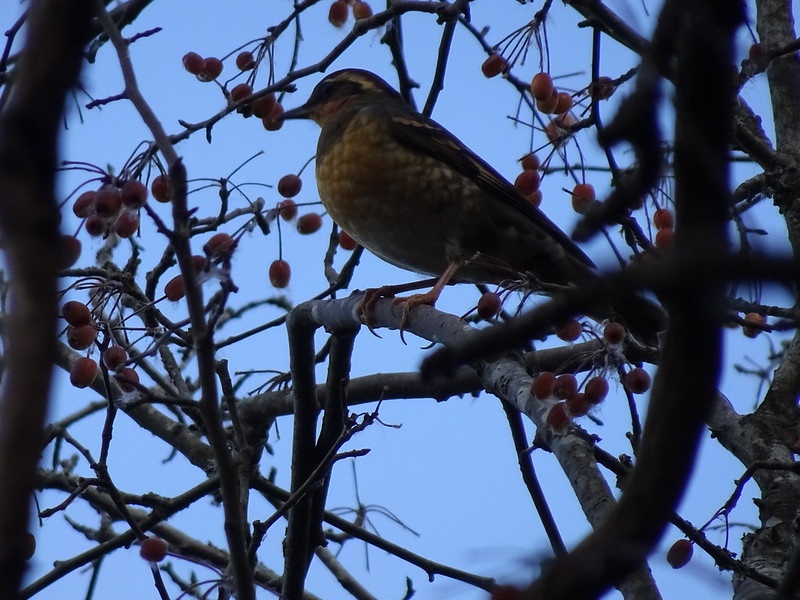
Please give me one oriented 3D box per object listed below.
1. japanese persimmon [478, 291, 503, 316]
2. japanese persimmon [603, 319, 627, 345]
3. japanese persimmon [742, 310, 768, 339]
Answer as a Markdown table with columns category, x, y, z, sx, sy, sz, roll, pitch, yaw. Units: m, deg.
| category | x | y | z | sx | sy | sz | roll | pitch | yaw |
| --- | --- | --- | --- | --- | --- | --- | --- | --- | --- |
| japanese persimmon | 0.309 | 0.016 | 4.917 | 0.056 | 0.061 | 0.080 | 13 | -79 | 7 |
| japanese persimmon | 0.753 | 0.115 | 5.047 | 0.065 | 0.066 | 0.080 | 0 | -82 | 6 |
| japanese persimmon | 1.254 | 0.079 | 5.072 | 0.072 | 0.103 | 0.085 | 20 | -26 | 22 |
